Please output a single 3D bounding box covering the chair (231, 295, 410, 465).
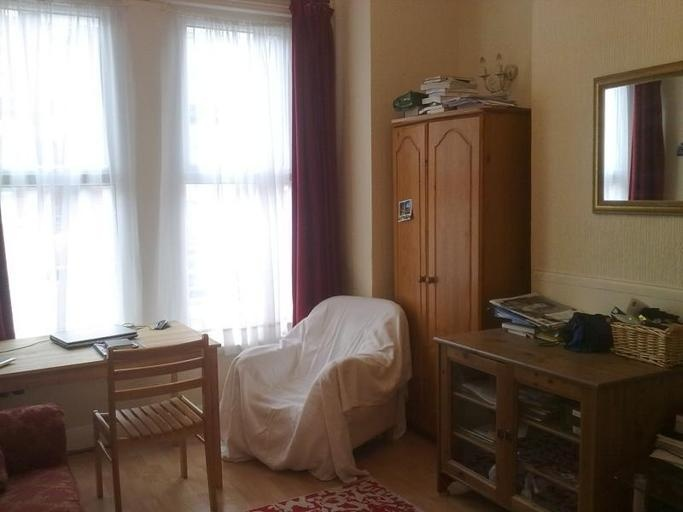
[{"bbox_3d":[-0.181,0.877,4.072,1.202,1.034,1.400,-2,1,-18],"label":"chair"}]

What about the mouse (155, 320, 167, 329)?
[{"bbox_3d":[-1.214,0.464,3.900,0.050,0.024,0.069,0,13,-3],"label":"mouse"}]

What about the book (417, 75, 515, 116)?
[{"bbox_3d":[0.759,-1.090,3.935,0.452,0.167,0.350,-7,10,-36],"label":"book"}]

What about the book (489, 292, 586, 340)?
[{"bbox_3d":[1.169,0.343,3.412,0.291,0.107,0.285,-4,11,-39],"label":"book"}]
